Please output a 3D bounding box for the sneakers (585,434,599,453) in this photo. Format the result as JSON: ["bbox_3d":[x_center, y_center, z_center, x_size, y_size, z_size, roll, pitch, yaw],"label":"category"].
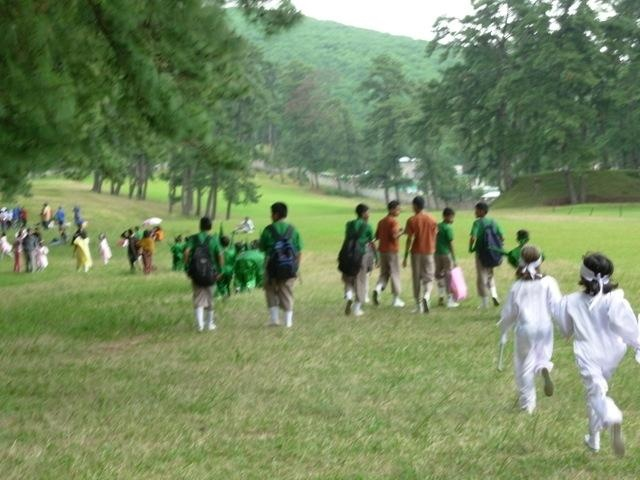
[{"bbox_3d":[3.197,2.360,8.856,0.085,0.158,0.227,0,5,2],"label":"sneakers"}]

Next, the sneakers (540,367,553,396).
[{"bbox_3d":[2.763,1.719,9.207,0.118,0.335,0.133,-13,-18,16],"label":"sneakers"}]

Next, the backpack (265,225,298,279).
[{"bbox_3d":[-0.616,0.245,13.421,0.573,0.875,0.485,-8,18,-2],"label":"backpack"}]

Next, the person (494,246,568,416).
[{"bbox_3d":[2.717,1.130,9.828,0.746,2.103,1.139,1,6,13],"label":"person"}]

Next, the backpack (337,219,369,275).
[{"bbox_3d":[0.691,0.192,14.910,0.513,1.103,0.461,9,-5,-18],"label":"backpack"}]

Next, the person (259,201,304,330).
[{"bbox_3d":[-0.714,0.434,13.780,0.807,2.205,1.116,1,3,-10],"label":"person"}]

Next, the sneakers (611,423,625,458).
[{"bbox_3d":[3.323,2.188,8.411,0.133,0.389,0.163,-9,-9,0],"label":"sneakers"}]
